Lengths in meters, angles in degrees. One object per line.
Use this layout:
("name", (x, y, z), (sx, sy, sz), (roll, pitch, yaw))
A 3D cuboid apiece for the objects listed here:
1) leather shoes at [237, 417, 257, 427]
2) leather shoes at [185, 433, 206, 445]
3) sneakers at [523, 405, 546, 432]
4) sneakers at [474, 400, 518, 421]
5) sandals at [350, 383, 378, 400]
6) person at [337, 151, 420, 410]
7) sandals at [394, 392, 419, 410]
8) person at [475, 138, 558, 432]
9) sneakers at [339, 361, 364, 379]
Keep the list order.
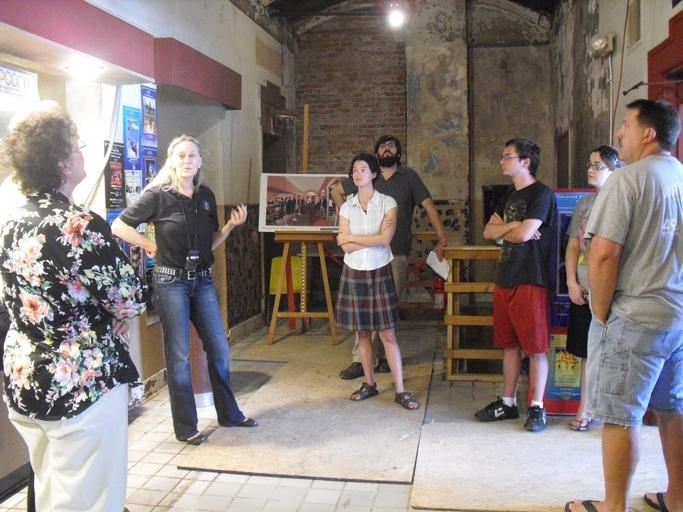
("leather shoes", (-0.684, 1.220, 4.086), (0.116, 0.035, 0.061), (2, 8, 12))
("leather shoes", (-1.012, 1.274, 3.849), (0.129, 0.048, 0.068), (-3, 5, -1))
("sneakers", (1.370, 1.142, 3.907), (0.148, 0.171, 0.115), (-1, 7, 11))
("sneakers", (1.152, 1.145, 4.140), (0.376, 0.168, 0.129), (-1, 4, -1))
("sandals", (0.194, 1.118, 4.594), (0.232, 0.096, 0.104), (-1, 3, -19))
("person", (0.262, 0.197, 4.362), (0.602, 1.982, 0.273), (-1, 7, 10))
("sandals", (0.521, 1.134, 4.349), (0.094, 0.080, 0.181), (0, -1, -20))
("person", (1.268, 0.192, 3.984), (0.529, 2.048, 0.437), (0, 7, 21))
("sneakers", (0.111, 1.063, 5.144), (0.281, 0.119, 0.093), (2, -4, -38))
